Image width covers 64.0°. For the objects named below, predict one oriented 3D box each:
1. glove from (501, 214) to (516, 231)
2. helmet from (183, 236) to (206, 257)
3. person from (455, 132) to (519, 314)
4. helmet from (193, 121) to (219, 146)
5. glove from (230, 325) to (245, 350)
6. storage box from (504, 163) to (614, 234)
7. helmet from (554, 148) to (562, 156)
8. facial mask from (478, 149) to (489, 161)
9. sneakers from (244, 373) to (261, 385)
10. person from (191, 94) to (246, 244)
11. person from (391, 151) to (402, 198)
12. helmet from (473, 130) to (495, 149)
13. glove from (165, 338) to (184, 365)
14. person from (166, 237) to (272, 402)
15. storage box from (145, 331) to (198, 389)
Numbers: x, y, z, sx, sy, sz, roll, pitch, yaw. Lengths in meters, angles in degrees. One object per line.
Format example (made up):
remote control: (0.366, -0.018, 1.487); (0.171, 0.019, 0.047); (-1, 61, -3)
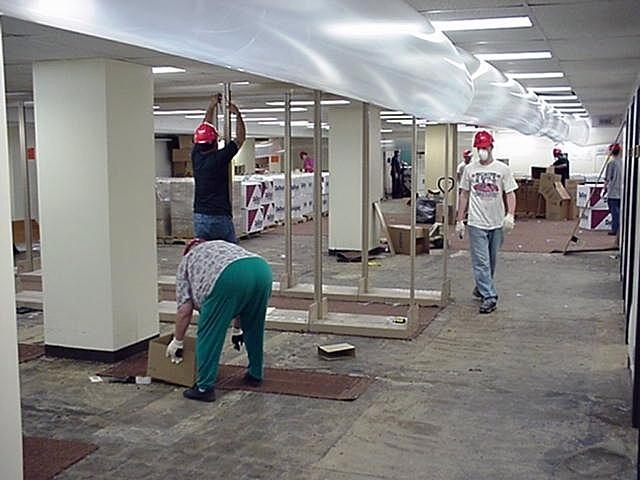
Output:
glove: (2.646, -0.241, 7.010); (0.176, 0.239, 0.237); (0, 1, 6)
helmet: (-1.324, 0.060, 5.353); (0.227, 0.306, 0.178); (-2, -7, -15)
person: (2.343, -0.288, 7.038); (0.732, 2.402, 0.790); (-4, 7, -4)
helmet: (-1.328, -1.236, 5.912); (0.259, 0.261, 0.326); (-5, 8, -13)
glove: (-0.828, 0.968, 5.104); (0.116, 0.325, 0.237); (4, -3, -5)
storage box: (7.561, -1.244, 16.118); (3.139, 1.930, 3.164); (2, 7, 16)
helmet: (8.220, -3.000, 17.632); (0.322, 0.303, 0.252); (-6, 10, 26)
facial mask: (2.229, -1.152, 6.991); (0.128, 0.155, 0.138); (5, -26, 39)
sneakers: (-0.615, 1.254, 4.611); (0.205, 0.087, 0.070); (13, 14, 41)
person: (-1.167, -0.801, 5.945); (0.774, 1.688, 0.364); (0, 8, 23)
person: (3.502, -2.965, 23.026); (0.494, 2.139, 0.461); (-3, 7, -2)
helmet: (2.288, -1.396, 7.142); (0.266, 0.234, 0.405); (1, 11, 20)
glove: (-1.254, 0.959, 4.463); (0.175, 0.228, 0.099); (6, 7, 39)
person: (-0.926, 0.676, 4.547); (0.836, 1.277, 1.078); (-4, 8, -34)
storage box: (-1.261, 1.082, 4.773); (0.631, 0.319, 0.621); (6, -3, 21)
